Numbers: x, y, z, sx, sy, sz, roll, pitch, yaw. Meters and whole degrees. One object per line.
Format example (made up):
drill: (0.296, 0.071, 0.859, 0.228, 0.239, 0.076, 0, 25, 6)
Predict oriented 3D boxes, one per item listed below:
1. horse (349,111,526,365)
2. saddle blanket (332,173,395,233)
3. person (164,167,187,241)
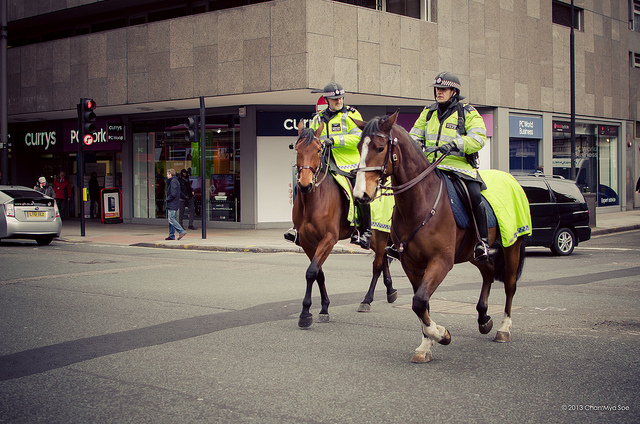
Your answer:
horse: (1.718, 0.356, 9.256, 2.966, 3.450, 0.823, -2, 3, -36)
saddle blanket: (1.041, -0.029, 12.217, 1.922, 1.251, 0.568, 5, -3, -37)
person: (-5.379, -0.246, 23.099, 0.655, 2.565, 1.173, 0, 2, -15)
